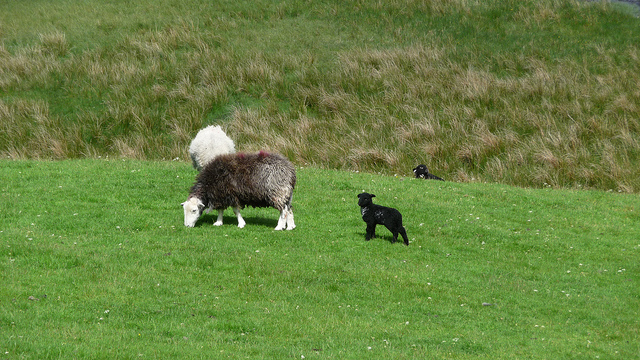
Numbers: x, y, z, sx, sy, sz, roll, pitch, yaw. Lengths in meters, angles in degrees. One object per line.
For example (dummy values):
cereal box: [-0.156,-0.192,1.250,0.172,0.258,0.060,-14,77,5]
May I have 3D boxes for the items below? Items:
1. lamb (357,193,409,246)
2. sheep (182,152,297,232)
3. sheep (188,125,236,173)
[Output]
lamb: [2.301,1.432,42.332,2.244,1.676,0.783,9,7,31]
sheep: [-2.983,0.429,42.579,4.283,2.791,1.872,-2,11,-12]
sheep: [-4.209,-1.208,43.596,1.207,1.235,2.006,-13,23,-6]
